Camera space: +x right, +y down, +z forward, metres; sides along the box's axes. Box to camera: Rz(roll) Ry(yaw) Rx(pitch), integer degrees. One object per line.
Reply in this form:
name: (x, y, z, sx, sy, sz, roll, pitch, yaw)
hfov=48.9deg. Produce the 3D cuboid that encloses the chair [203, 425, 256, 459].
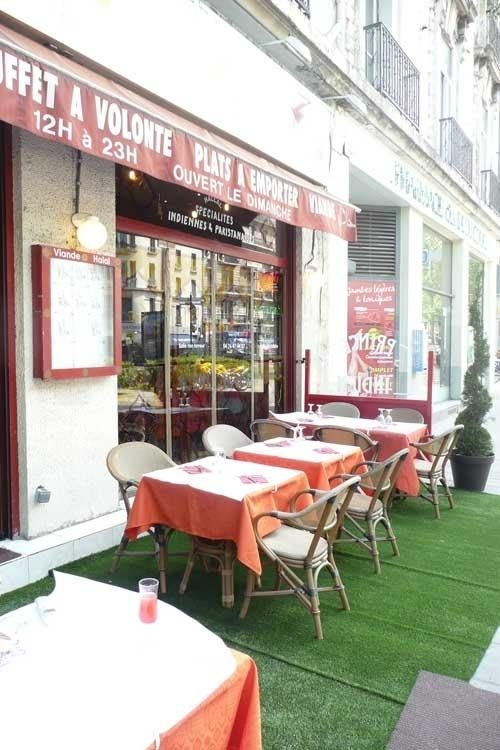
chair: (-0.170, 0.568, 4.833, 0.312, 0.369, 0.298, -1, 10, 39)

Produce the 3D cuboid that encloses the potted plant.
potted plant: (2.507, 0.185, 6.229, 0.439, 2.189, 0.729, 1, 2, 21)

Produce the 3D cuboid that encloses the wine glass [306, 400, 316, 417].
wine glass: (0.811, 0.421, 7.330, 0.134, 0.164, 0.143, -2, 8, 17)

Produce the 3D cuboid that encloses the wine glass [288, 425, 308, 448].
wine glass: (0.417, 0.529, 4.843, 0.150, 0.168, 0.149, 0, 10, 15)

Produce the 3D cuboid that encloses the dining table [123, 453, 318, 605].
dining table: (-0.244, 0.786, 3.367, 0.789, 0.400, 0.806, 5, 6, 29)

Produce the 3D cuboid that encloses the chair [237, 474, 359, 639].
chair: (0.347, 0.953, 3.549, 0.759, 1.242, 0.727, 3, 2, 31)
